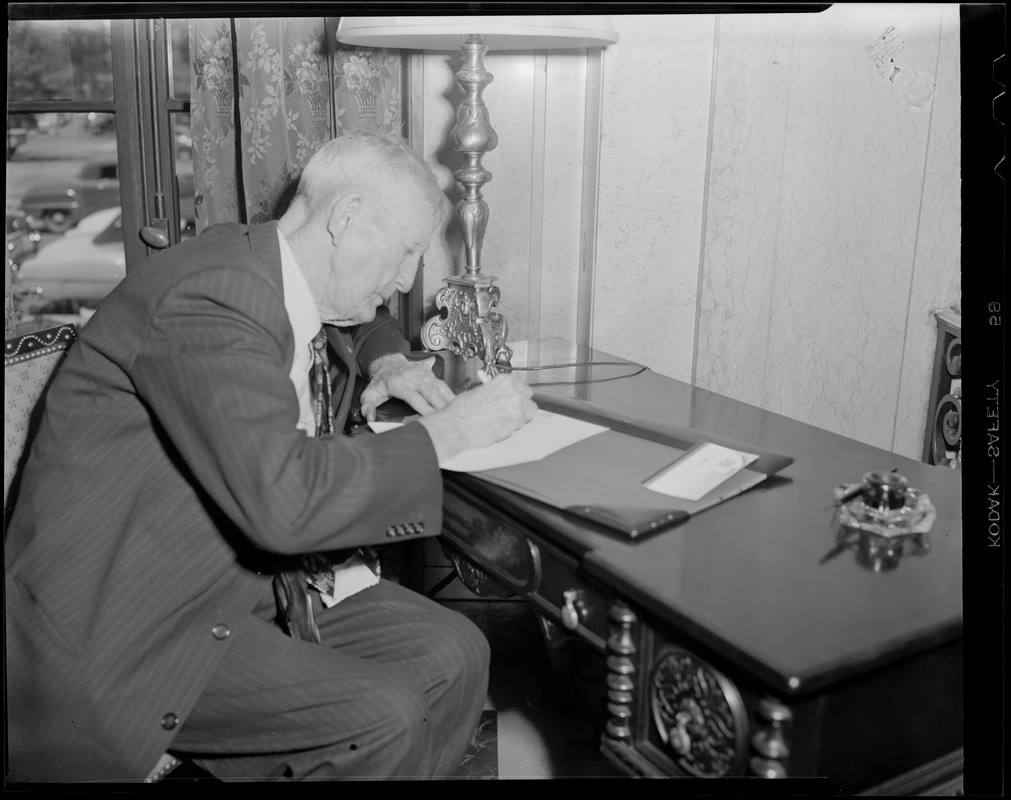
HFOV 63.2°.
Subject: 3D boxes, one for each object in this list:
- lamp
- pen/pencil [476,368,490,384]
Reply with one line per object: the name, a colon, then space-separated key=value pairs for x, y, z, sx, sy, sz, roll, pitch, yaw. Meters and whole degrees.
lamp: x=-0.059 y=-0.441 z=1.667 sx=0.472 sy=0.674 sz=0.516 roll=5 pitch=11 yaw=19
pen/pencil: x=-0.042 y=-0.048 z=1.617 sx=0.009 sy=0.021 sz=0.037 roll=29 pitch=6 yaw=-19
